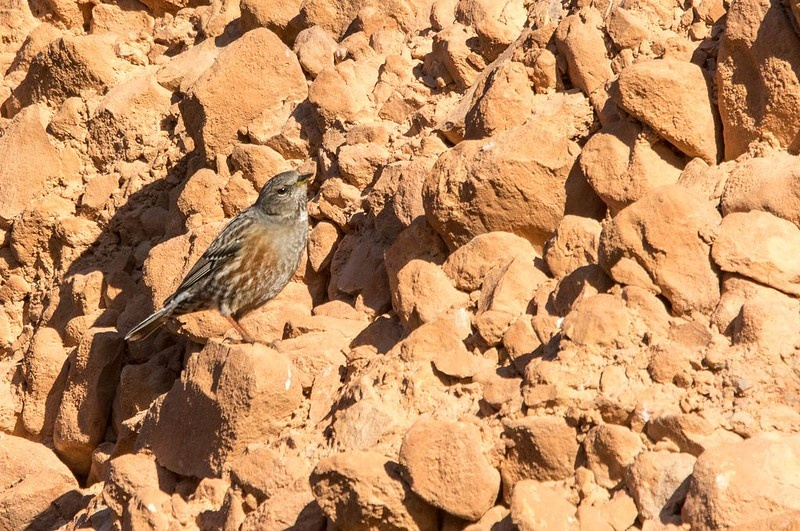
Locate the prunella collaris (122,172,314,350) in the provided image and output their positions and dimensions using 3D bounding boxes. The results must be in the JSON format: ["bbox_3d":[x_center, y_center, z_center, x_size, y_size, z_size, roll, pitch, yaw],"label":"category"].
[{"bbox_3d":[-1.426,0.008,11.595,1.594,1.224,0.668,-23,52,-22],"label":"prunella collaris"}]
